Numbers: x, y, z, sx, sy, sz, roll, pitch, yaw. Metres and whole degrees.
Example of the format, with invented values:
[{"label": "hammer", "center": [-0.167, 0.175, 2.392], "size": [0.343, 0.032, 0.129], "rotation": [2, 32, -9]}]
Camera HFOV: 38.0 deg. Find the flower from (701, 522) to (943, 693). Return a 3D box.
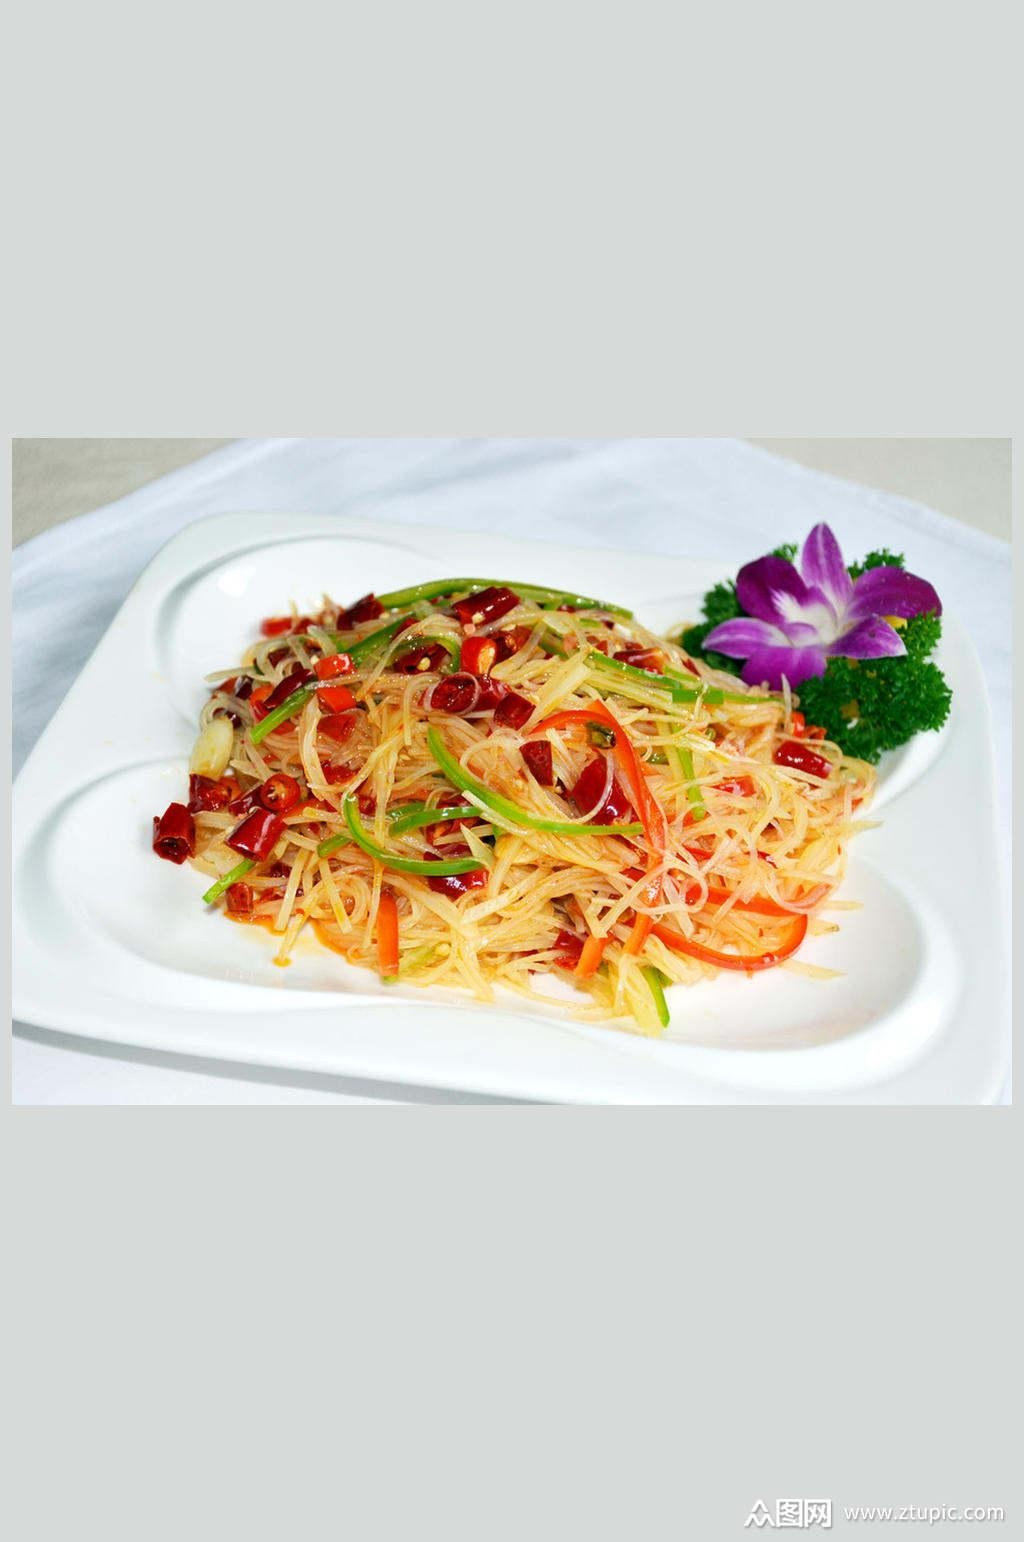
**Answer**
[{"label": "flower", "center": [0.766, -0.395, 3.694], "size": [0.491, 0.129, 0.497], "rotation": [-39, 37, -25]}]
